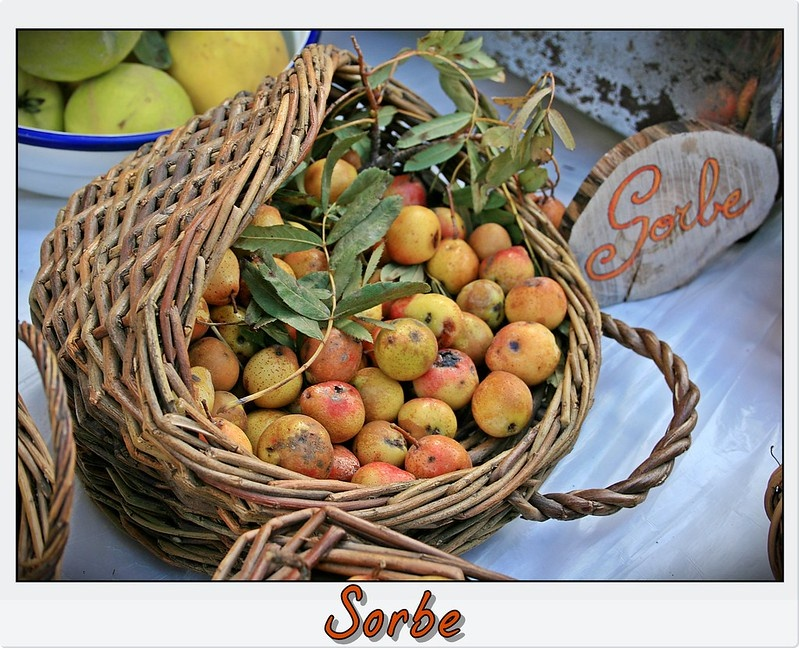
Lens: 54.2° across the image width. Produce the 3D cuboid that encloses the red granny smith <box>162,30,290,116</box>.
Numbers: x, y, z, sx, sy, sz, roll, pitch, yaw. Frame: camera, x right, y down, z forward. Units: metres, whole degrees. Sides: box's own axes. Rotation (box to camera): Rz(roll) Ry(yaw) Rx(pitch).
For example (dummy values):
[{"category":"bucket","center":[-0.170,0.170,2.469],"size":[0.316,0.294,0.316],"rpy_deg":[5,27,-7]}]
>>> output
[{"category":"red granny smith","center":[-0.301,-0.414,1.283],"size":[0.182,0.101,0.154],"rpy_deg":[-20,-11,26]}]

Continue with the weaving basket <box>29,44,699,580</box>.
[{"category":"weaving basket","center":[-0.053,0.015,0.924],"size":[0.793,0.602,0.286],"rpy_deg":[-5,-10,-37]}]

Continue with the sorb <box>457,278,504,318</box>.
[{"category":"sorb","center":[0.113,-0.036,1.105],"size":[0.058,0.051,0.032],"rpy_deg":[-9,-20,8]}]

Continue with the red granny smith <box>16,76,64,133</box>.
[{"category":"red granny smith","center":[-0.551,-0.322,1.207],"size":[0.049,0.050,0.047],"rpy_deg":[29,27,12]}]

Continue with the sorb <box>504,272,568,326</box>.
[{"category":"sorb","center":[0.191,-0.028,1.128],"size":[0.073,0.067,0.070],"rpy_deg":[-23,-14,17]}]
